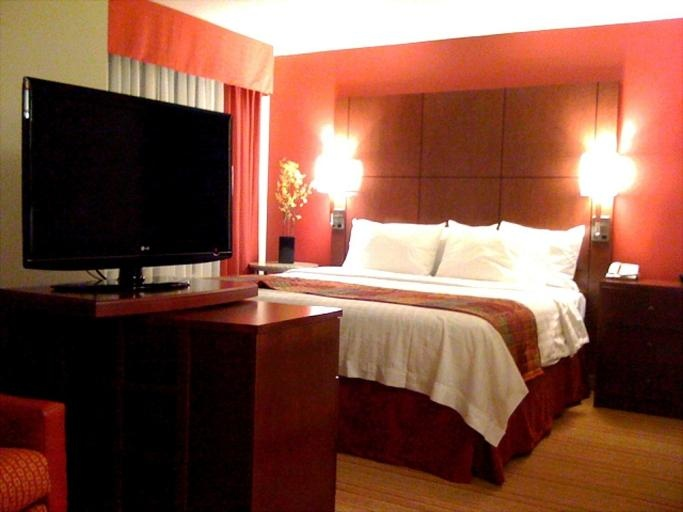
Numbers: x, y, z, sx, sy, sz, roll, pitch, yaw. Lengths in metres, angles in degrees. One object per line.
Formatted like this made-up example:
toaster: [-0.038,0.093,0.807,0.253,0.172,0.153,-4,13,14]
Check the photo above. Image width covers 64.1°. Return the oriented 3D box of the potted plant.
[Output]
potted plant: [-0.498,-0.494,5.799,0.398,1.079,0.680,1,5,-7]
